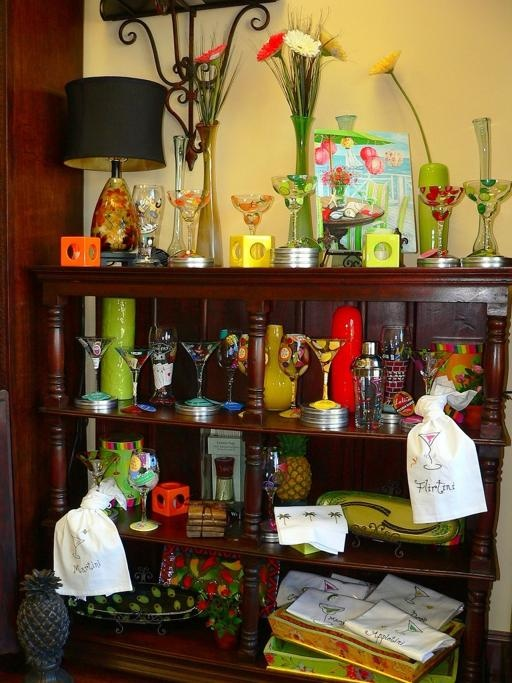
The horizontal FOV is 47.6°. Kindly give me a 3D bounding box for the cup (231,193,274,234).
[{"bbox_3d":[-0.002,-0.339,1.543,0.093,0.093,0.098,-1,3,0],"label":"cup"}]

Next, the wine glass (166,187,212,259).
[{"bbox_3d":[-0.172,-0.309,1.648,0.114,0.209,0.209,0,3,20],"label":"wine glass"}]

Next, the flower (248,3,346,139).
[{"bbox_3d":[0.126,-0.807,1.669,0.234,0.377,0.381,-1,3,1],"label":"flower"}]

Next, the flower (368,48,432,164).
[{"bbox_3d":[0.411,-0.671,1.666,0.174,0.352,0.149,0,3,16],"label":"flower"}]

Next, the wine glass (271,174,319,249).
[{"bbox_3d":[0.098,-0.341,1.546,0.105,0.195,0.180,-1,3,2],"label":"wine glass"}]

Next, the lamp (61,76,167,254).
[{"bbox_3d":[-0.438,-0.547,1.831,0.314,0.539,0.357,-1,3,-13],"label":"lamp"}]

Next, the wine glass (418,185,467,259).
[{"bbox_3d":[0.465,-0.291,1.463,0.102,0.199,0.179,0,3,17],"label":"wine glass"}]

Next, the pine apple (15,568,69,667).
[{"bbox_3d":[-0.577,0.760,1.577,0.133,0.292,0.118,-2,3,-18],"label":"pine apple"}]

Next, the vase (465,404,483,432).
[{"bbox_3d":[0.543,0.202,1.498,0.055,0.062,0.054,1,-3,-4],"label":"vase"}]
